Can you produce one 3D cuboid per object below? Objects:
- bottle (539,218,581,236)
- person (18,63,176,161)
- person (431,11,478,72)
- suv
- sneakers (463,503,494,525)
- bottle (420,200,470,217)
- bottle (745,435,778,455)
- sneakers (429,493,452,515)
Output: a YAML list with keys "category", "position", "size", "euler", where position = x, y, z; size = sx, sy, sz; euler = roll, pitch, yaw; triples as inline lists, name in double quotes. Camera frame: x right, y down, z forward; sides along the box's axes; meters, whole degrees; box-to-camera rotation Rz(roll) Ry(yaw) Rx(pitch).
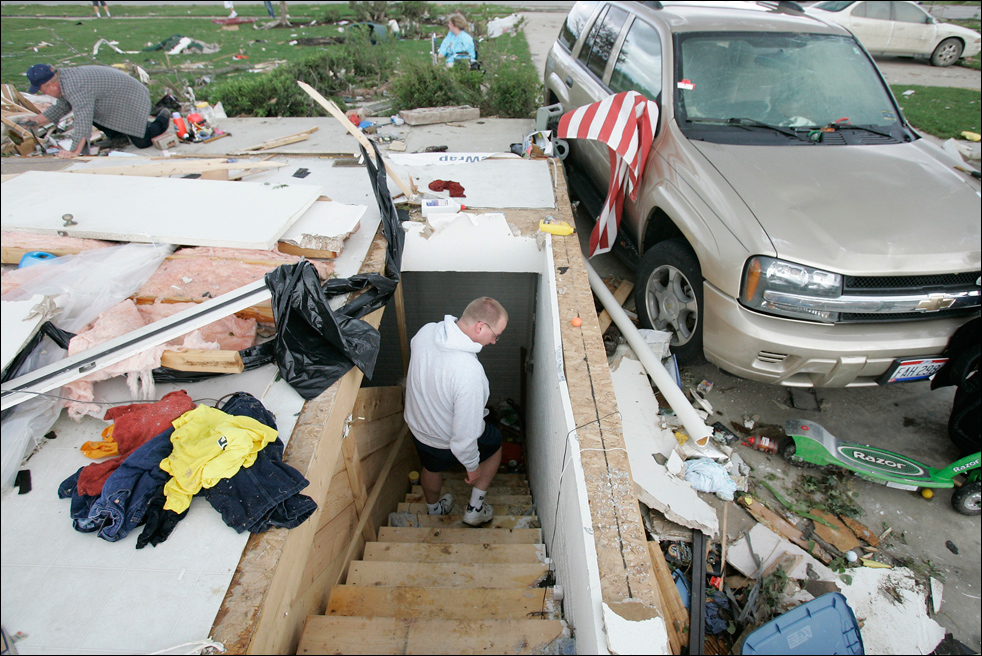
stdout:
- category: "bottle"
  position: [0.628, -0.946, 5.635]
  size: [0.267, 0.082, 0.176]
  euler: [6, 29, -1]
- category: "person"
  position: [-4.706, -2.714, 7.269]
  size: [0.894, 0.894, 1.502]
  euler: [34, 39, 31]
- category: "person"
  position: [-0.575, -4.639, 9.742]
  size: [0.693, 0.778, 0.622]
  euler: [1, 10, -6]
- category: "suv"
  position: [2.403, -1.441, 5.753]
  size: [2.548, 2.152, 4.268]
  euler: [-11, 43, -10]
- category: "sneakers"
  position: [-0.116, 1.723, 5.480]
  size: [0.151, 0.133, 0.306]
  euler: [4, 16, 22]
- category: "bottle"
  position: [-0.482, -1.165, 5.773]
  size: [0.365, 0.087, 0.174]
  euler: [0, 29, -1]
- category: "bottle"
  position: [2.368, 1.012, 5.237]
  size: [0.271, 0.131, 0.089]
  euler: [10, 42, 16]
- category: "sneakers"
  position: [-0.489, 1.704, 5.784]
  size: [0.094, 0.170, 0.256]
  euler: [10, 45, 28]
